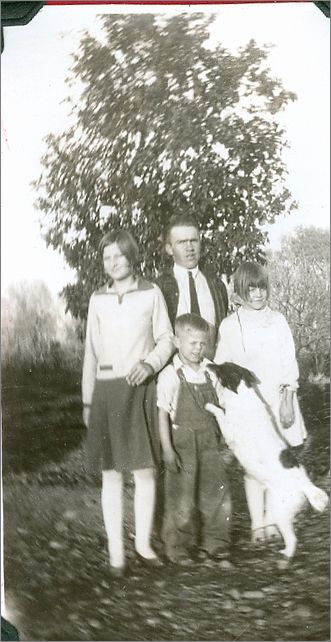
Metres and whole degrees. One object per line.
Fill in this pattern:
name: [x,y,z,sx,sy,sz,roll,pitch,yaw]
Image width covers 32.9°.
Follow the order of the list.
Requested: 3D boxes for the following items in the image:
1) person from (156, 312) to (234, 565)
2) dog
person: [0.158,0.640,3.087,0.389,1.174,0.615,-1,23,-2]
dog: [0.541,0.797,3.060,0.212,0.877,0.497,-23,4,-23]
